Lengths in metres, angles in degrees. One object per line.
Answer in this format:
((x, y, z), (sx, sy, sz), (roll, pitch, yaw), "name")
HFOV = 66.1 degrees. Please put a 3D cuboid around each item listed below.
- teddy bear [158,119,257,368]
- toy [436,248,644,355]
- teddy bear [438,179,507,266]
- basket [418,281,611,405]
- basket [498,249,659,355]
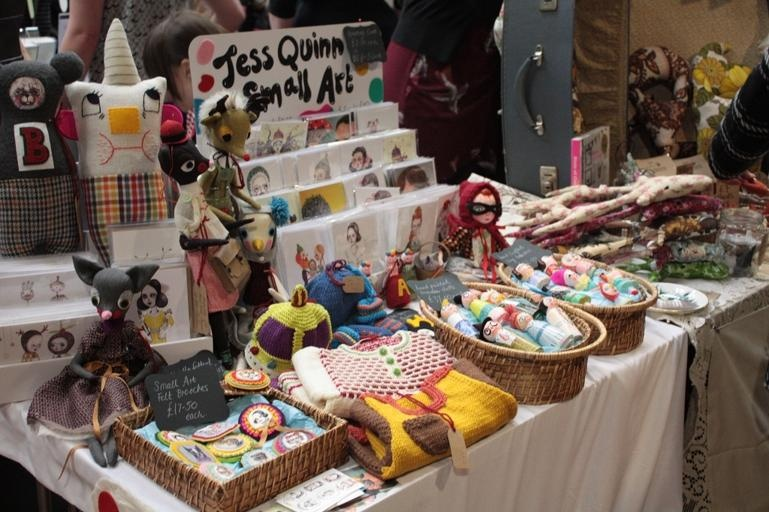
((-0.675, -0.041, 2.328), (0.174, 0.970, 0.291), (7, 18, 34), "teddy bear")
((0.831, 0.141, 2.618), (0.470, 0.166, 0.613), (-22, 35, -34), "toy")
((0.421, -0.149, 2.913), (0.377, 0.467, 0.228), (-11, 5, -34), "teddy bear")
((0.430, 0.348, 2.242), (0.382, 0.182, 0.512), (-20, 34, -37), "basket")
((0.840, 0.133, 2.572), (0.405, 0.195, 0.551), (-24, 39, -35), "basket")
